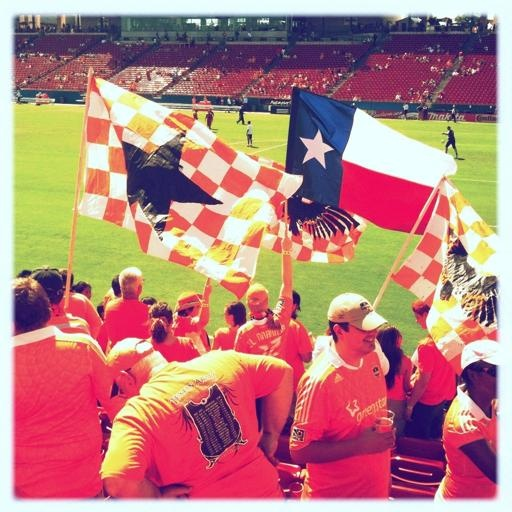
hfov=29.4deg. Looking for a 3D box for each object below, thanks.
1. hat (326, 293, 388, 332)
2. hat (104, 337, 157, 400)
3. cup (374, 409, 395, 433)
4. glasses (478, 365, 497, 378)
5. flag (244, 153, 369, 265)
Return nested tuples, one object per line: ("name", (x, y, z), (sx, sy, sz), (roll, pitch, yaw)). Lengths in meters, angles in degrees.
("hat", (0.665, 0.352, 6.396), (0.311, 0.183, 0.222), (0, 7, 33))
("hat", (-0.791, 0.731, 6.198), (0.245, 0.328, 0.187), (31, 28, 12))
("cup", (0.845, 1.092, 6.418), (0.114, 0.141, 0.112), (9, 9, -1))
("glasses", (1.504, 0.743, 6.369), (0.093, 0.025, 0.070), (24, 54, 38))
("flag", (0.452, -0.437, 8.678), (1.111, 0.198, 1.245), (16, -28, 13))
